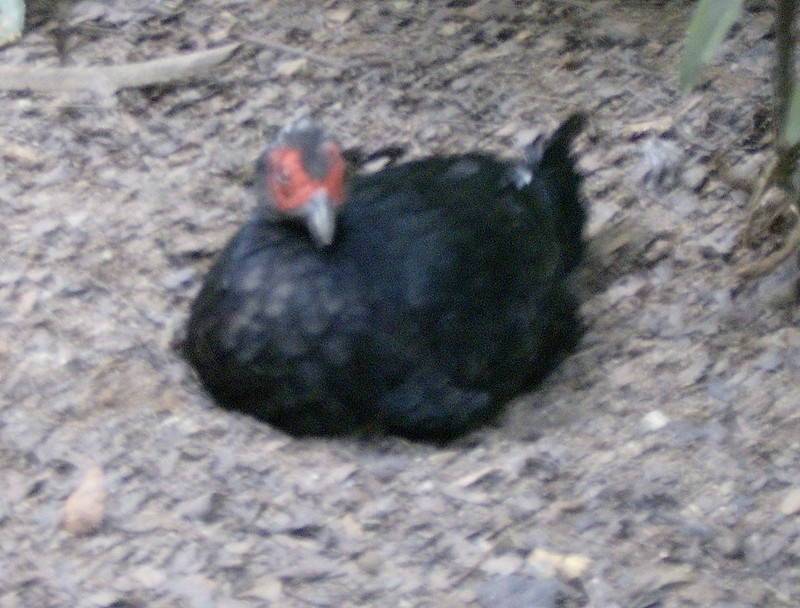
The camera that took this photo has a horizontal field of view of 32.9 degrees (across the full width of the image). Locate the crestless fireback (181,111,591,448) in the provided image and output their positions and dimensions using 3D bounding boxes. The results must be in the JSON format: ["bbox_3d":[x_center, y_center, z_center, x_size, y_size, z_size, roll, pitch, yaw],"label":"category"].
[{"bbox_3d":[-0.028,-0.061,2.414,0.717,0.405,0.500,0,46,-3],"label":"crestless fireback"}]
